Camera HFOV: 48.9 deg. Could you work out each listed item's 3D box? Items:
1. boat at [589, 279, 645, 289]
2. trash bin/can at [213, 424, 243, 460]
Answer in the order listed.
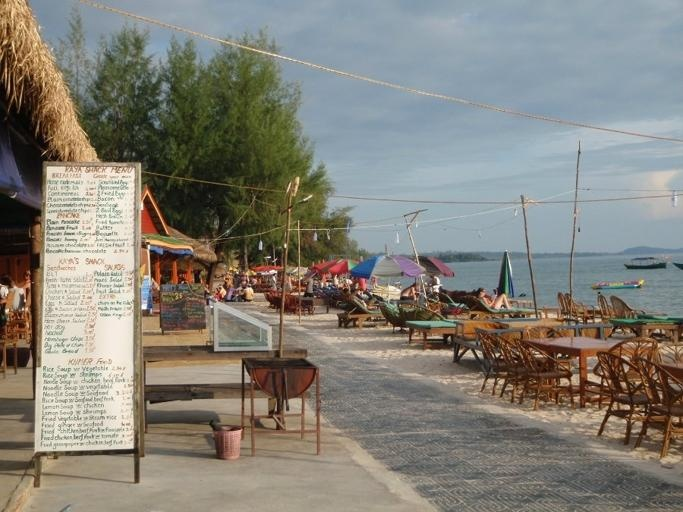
[{"bbox_3d":[30.627,3.188,83.378,4.926,1.014,1.289,-1,-1,8],"label":"boat"},{"bbox_3d":[-1.284,2.177,8.755,0.355,0.312,0.369,2,-8,-18],"label":"trash bin/can"}]
